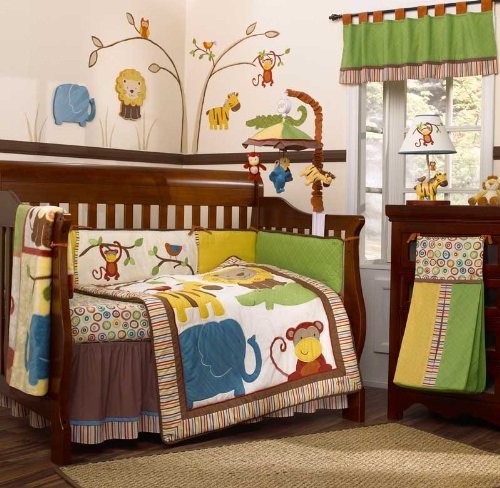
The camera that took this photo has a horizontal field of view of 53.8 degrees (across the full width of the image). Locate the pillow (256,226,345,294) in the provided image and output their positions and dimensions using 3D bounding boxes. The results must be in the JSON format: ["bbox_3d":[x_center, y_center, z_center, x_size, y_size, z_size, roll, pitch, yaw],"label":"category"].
[{"bbox_3d":[0.232,0.042,2.438,0.466,0.229,0.061,8,24,12],"label":"pillow"}]

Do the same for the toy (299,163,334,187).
[{"bbox_3d":[0.338,-0.357,2.528,0.166,0.119,0.077,0,2,29],"label":"toy"}]

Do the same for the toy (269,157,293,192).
[{"bbox_3d":[0.153,-0.386,2.635,0.117,0.169,0.131,3,19,7],"label":"toy"}]
